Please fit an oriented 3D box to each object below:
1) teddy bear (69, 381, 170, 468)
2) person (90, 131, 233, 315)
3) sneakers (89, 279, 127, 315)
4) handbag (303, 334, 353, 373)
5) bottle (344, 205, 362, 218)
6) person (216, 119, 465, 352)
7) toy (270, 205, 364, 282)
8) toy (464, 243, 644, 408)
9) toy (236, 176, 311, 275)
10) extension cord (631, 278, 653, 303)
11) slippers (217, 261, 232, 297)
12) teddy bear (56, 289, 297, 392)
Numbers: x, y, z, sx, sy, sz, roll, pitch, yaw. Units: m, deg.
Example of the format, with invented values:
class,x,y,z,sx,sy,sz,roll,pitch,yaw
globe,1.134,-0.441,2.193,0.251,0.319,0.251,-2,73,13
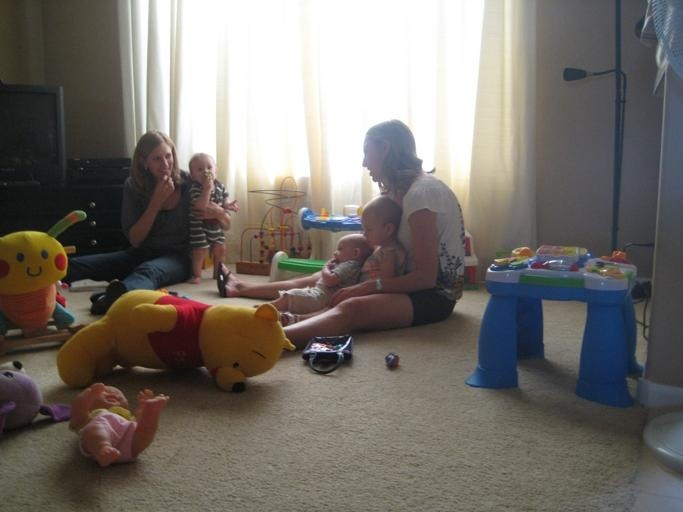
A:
class,x,y,z,sx,sy,sz,roll,pitch,yaw
teddy bear,-0.520,0.359,1.336,0.155,0.143,0.239,8,0,-32
person,-0.849,-0.186,2.837,0.538,0.590,0.739,3,25,-11
sneakers,-0.899,0.155,2.197,0.049,0.059,0.146,20,-48,-35
handbag,-0.046,0.305,1.819,0.152,0.062,0.189,2,12,9
bottle,0.064,-0.253,3.100,0.094,0.061,0.091,0,2,0
person,0.101,-0.130,2.180,0.688,0.759,0.677,-2,11,-9
toy,-0.129,-0.073,2.776,0.477,0.452,0.301,0,7,7
toy,0.645,0.175,1.681,0.462,0.387,0.367,6,13,27
toy,-0.397,-0.205,3.594,0.565,0.764,0.536,1,3,-3
extension cord,1.262,0.146,2.402,0.075,0.115,0.053,0,-12,33
slippers,-0.532,0.101,2.619,0.038,0.154,0.055,-9,-21,22
teddy bear,-0.478,0.238,1.627,0.438,0.222,0.341,0,-6,8
